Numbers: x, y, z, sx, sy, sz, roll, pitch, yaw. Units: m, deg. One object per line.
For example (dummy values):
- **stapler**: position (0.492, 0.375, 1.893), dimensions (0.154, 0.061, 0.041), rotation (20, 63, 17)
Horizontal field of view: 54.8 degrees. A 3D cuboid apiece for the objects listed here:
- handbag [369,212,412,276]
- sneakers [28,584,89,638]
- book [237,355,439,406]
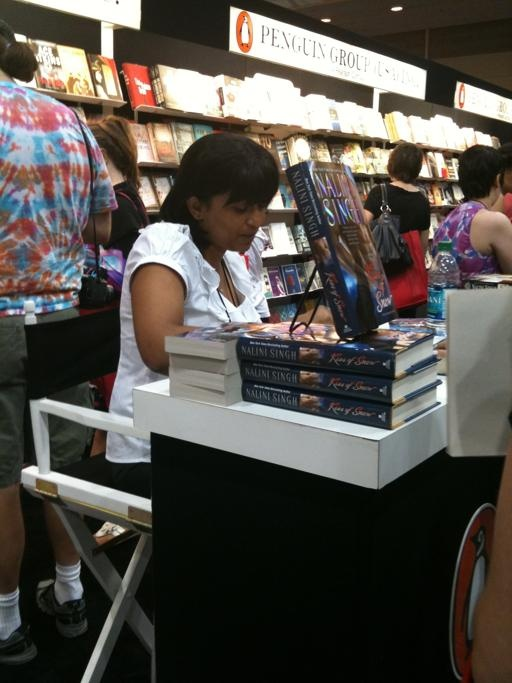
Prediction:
- **handbag**: position (0.981, -0.724, 3.690), dimensions (0.306, 0.472, 0.347), rotation (-6, 13, -16)
- **sneakers**: position (-0.706, 0.950, 1.805), dimensions (0.105, 0.122, 0.255), rotation (1, 17, -35)
- **book**: position (0.107, 0.050, 0.681), dimensions (0.278, 0.047, 0.147), rotation (1, 14, 14)
